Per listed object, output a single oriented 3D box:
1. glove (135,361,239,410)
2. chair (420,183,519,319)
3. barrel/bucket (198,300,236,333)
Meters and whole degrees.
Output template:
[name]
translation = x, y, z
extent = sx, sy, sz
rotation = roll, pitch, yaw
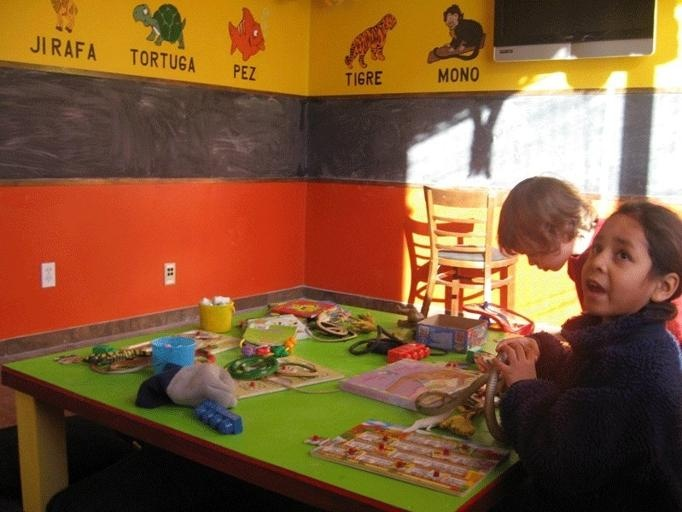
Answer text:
[glove]
translation = -0.344, 0.270, 1.167
extent = 0.150, 0.049, 0.136
rotation = 3, 7, 8
[chair]
translation = 0.961, 0.041, 3.792
extent = 0.728, 1.027, 0.661
rotation = -2, 8, -33
[barrel/bucket]
translation = -0.426, 0.213, 1.762
extent = 0.120, 0.082, 0.090
rotation = 1, -3, -13
